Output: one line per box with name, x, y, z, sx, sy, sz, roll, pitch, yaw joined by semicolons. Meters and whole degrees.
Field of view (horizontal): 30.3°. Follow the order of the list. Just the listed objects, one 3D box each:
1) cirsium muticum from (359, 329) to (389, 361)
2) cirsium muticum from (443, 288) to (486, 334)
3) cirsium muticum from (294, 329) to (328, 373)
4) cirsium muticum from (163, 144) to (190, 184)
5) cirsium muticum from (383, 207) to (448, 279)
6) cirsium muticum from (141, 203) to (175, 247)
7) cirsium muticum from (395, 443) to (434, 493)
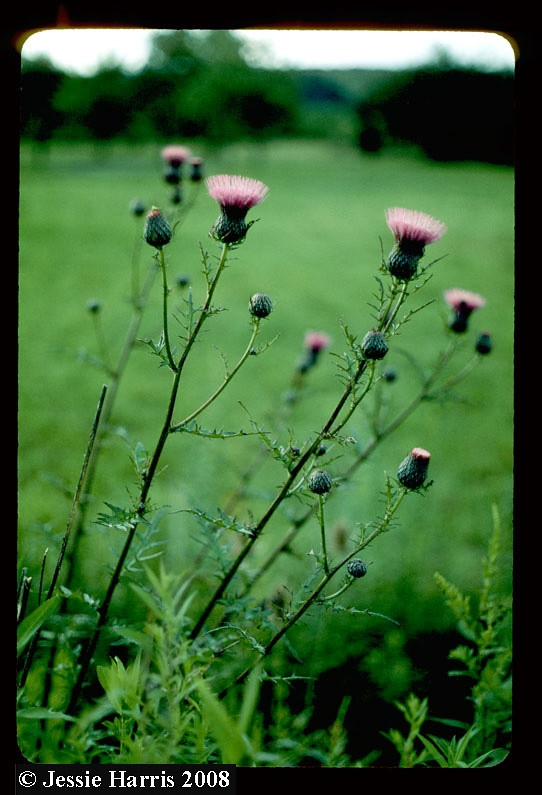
cirsium muticum;0.213;-0.106;2.092;0.062;0.066;0.062;-1;6;-6
cirsium muticum;0.503;-0.230;2.676;0.119;0.095;0.109;20;-3;42
cirsium muticum;0.124;-0.128;2.980;0.087;0.100;0.170;2;-1;2
cirsium muticum;-0.271;-0.656;2.835;0.074;0.098;0.092;2;-1;-6
cirsium muticum;0.304;-0.320;2.206;0.122;0.154;0.127;17;3;34
cirsium muticum;-0.244;-0.361;2.162;0.059;0.082;0.136;2;-1;-6
cirsium muticum;0.316;0.166;2.232;0.066;0.069;0.146;2;-1;7
